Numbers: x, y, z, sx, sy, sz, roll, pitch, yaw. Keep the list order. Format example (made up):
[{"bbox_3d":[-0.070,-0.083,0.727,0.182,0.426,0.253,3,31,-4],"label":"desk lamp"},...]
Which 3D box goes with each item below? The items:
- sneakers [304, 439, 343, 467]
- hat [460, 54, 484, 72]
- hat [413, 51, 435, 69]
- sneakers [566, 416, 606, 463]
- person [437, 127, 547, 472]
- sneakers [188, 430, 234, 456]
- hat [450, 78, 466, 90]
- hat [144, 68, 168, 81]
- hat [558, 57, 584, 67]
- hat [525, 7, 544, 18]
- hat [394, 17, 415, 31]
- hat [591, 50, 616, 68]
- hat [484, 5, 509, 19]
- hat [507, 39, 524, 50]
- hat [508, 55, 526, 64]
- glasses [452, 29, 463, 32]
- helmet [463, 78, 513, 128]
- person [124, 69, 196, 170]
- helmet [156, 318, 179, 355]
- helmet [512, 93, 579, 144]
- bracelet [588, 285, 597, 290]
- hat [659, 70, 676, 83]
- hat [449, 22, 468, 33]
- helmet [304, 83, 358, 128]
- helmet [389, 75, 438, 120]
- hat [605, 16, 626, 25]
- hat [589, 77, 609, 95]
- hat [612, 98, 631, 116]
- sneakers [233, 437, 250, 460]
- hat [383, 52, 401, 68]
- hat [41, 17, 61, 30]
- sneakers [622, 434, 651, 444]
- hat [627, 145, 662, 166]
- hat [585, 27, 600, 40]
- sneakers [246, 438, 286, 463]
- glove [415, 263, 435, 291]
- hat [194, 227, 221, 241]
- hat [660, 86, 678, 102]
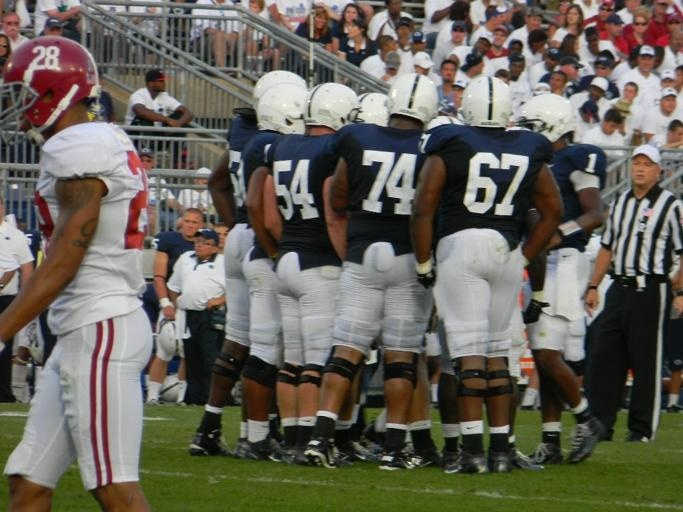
[{"bbox_3d":[-0.109,1.526,13.069,0.151,0.168,0.388,-6,-11,27],"label":"sneakers"},{"bbox_3d":[1.499,-2.224,19.750,0.255,0.222,0.208,3,-2,6],"label":"hat"},{"bbox_3d":[0.954,-2.272,19.945,0.233,0.234,0.354,3,-2,1],"label":"hat"},{"bbox_3d":[1.917,1.461,13.481,0.278,0.382,0.176,3,-2,8],"label":"sneakers"},{"bbox_3d":[1.044,0.339,12.849,0.879,2.585,0.345,4,-2,-5],"label":"person"},{"bbox_3d":[-0.969,1.503,13.608,0.460,0.188,0.147,5,1,-27],"label":"sneakers"},{"bbox_3d":[1.332,-1.953,19.392,0.225,0.108,0.348,2,7,18],"label":"hat"},{"bbox_3d":[-2.083,-2.034,19.296,0.220,0.111,0.154,-12,24,-21],"label":"hat"},{"bbox_3d":[2.672,-2.249,19.869,0.230,0.083,0.140,8,4,-3],"label":"hat"},{"bbox_3d":[2.448,-3.089,21.685,0.183,0.097,0.248,4,4,1],"label":"hat"},{"bbox_3d":[0.747,-2.782,20.561,0.200,0.105,0.311,1,9,2],"label":"hat"},{"bbox_3d":[3.141,-2.365,20.476,0.179,0.106,0.289,2,-2,30],"label":"hat"},{"bbox_3d":[1.932,-3.049,21.376,0.259,0.076,0.154,-11,15,-2],"label":"hat"},{"bbox_3d":[2.062,-2.512,20.430,0.126,0.156,0.159,21,14,-16],"label":"hat"},{"bbox_3d":[2.041,-2.297,19.983,0.132,0.099,0.140,3,-20,30],"label":"hat"},{"bbox_3d":[1.372,-2.692,20.437,0.062,0.039,0.095,3,9,-1],"label":"glasses"},{"bbox_3d":[1.107,-1.187,13.163,0.410,0.400,0.529,1,11,-9],"label":"helmet"},{"bbox_3d":[-2.110,-1.545,19.304,0.814,1.077,0.648,7,9,32],"label":"person"},{"bbox_3d":[-1.750,0.830,17.154,0.274,0.327,0.343,7,-6,-17],"label":"helmet"},{"bbox_3d":[1.675,-1.124,13.634,0.556,0.422,0.392,2,24,18],"label":"helmet"},{"bbox_3d":[2.177,0.285,14.812,0.044,0.030,0.042,8,-12,-34],"label":"bracelet"},{"bbox_3d":[3.804,-2.089,19.973,0.164,0.163,0.137,3,-2,10],"label":"hat"},{"bbox_3d":[1.410,-2.741,20.520,0.182,0.120,0.284,2,9,7],"label":"hat"},{"bbox_3d":[-0.075,-1.173,13.406,0.419,0.331,0.302,-27,21,-18],"label":"helmet"},{"bbox_3d":[0.556,-1.229,13.169,0.313,0.325,0.387,4,26,0],"label":"helmet"},{"bbox_3d":[3.423,-2.959,21.422,0.162,0.088,0.117,9,15,25],"label":"hat"},{"bbox_3d":[2.886,-1.914,19.169,0.152,0.106,0.227,25,-3,19],"label":"hat"},{"bbox_3d":[3.158,-1.665,19.270,0.192,0.241,0.300,3,-2,15],"label":"hat"},{"bbox_3d":[-0.790,1.530,13.466,0.095,0.148,0.158,10,-3,33],"label":"sneakers"},{"bbox_3d":[0.585,-2.298,20.075,0.157,0.189,0.196,3,11,-4],"label":"hat"},{"bbox_3d":[-3.208,-2.570,19.013,0.189,0.150,0.276,2,-7,-24],"label":"hat"},{"bbox_3d":[2.558,1.598,14.807,0.214,0.084,0.076,-3,-10,18],"label":"sneakers"},{"bbox_3d":[2.666,-0.871,14.778,0.193,0.132,0.259,10,-3,30],"label":"hat"},{"bbox_3d":[3.054,-2.727,20.870,0.147,0.175,0.187,2,-3,12],"label":"hat"},{"bbox_3d":[-0.600,1.548,13.438,0.390,0.162,0.132,1,-7,-5],"label":"sneakers"},{"bbox_3d":[0.629,0.167,12.803,0.147,0.179,0.177,-3,-27,-3],"label":"glove"},{"bbox_3d":[-1.382,-0.207,16.960,0.188,0.126,0.298,6,-7,25],"label":"hat"},{"bbox_3d":[3.722,-1.833,19.491,0.241,0.126,0.364,4,0,10],"label":"hat"}]
